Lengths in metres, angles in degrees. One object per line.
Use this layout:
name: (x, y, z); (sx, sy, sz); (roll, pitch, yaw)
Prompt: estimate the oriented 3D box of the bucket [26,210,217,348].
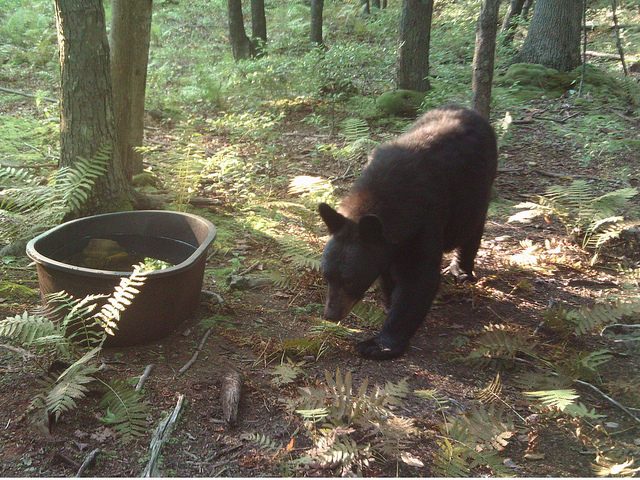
bucket: (-2.104, 0.274, 6.585); (1.692, 0.728, 1.865); (4, 19, 8)
